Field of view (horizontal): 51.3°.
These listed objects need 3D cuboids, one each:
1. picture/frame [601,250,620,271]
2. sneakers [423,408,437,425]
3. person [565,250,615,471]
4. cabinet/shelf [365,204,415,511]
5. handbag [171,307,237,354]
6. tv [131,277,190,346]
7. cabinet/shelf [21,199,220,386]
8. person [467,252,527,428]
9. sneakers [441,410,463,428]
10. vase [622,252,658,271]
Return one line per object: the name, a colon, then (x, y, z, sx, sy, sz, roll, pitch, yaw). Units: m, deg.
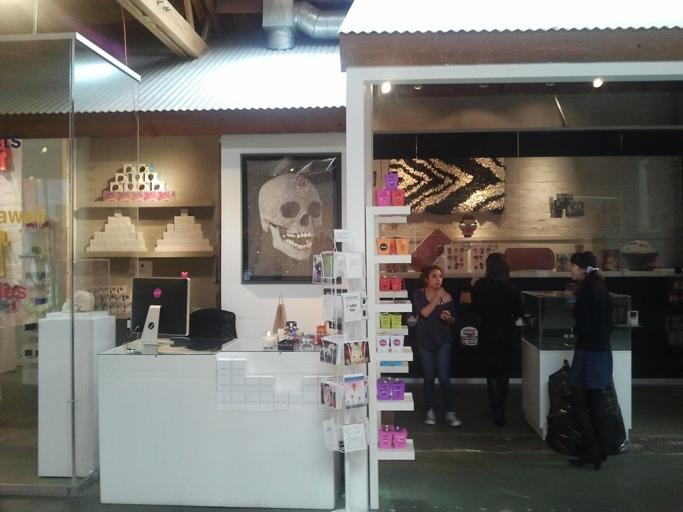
picture/frame: (3.962, 0.068, 10.469, 0.265, 0.383, 0.048, 0, -9, 5)
sneakers: (1.052, 1.930, 8.515, 0.108, 0.144, 0.350, 0, -10, 3)
person: (2.602, 1.063, 7.446, 0.474, 2.152, 0.624, 4, 10, 20)
cabinet/shelf: (0.470, 0.896, 6.978, 0.487, 2.780, 1.120, 1, 10, 6)
handbag: (-1.559, 0.840, 8.202, 0.408, 0.609, 0.485, 0, -17, 6)
tv: (-1.863, 0.556, 7.244, 0.624, 0.580, 0.210, 1, 2, 12)
cabinet/shelf: (-2.389, 0.419, 7.512, 1.854, 1.850, 0.610, 0, 0, -6)
person: (1.908, 0.978, 8.518, 0.481, 2.023, 0.590, -3, 10, -17)
sneakers: (1.333, 1.911, 8.425, 0.194, 0.174, 0.228, 0, 11, -2)
vase: (4.352, 0.071, 10.361, 0.350, 0.220, 0.275, 0, 1, 7)
